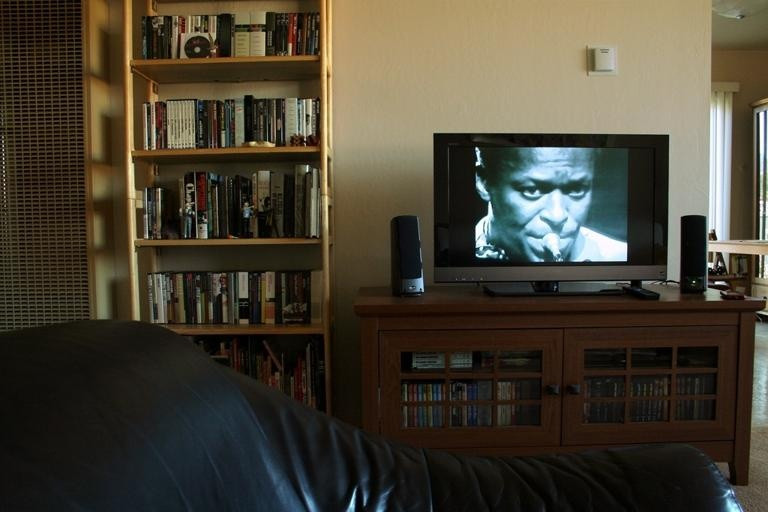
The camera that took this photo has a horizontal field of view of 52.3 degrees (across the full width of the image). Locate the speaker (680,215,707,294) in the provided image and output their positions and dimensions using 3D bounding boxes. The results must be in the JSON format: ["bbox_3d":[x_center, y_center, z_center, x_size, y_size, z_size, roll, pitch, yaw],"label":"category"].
[{"bbox_3d":[1.637,-0.003,4.139,0.129,0.406,0.092,0,3,18],"label":"speaker"}]

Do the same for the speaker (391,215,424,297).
[{"bbox_3d":[0.118,0.003,4.122,0.168,0.417,0.105,0,3,7],"label":"speaker"}]
